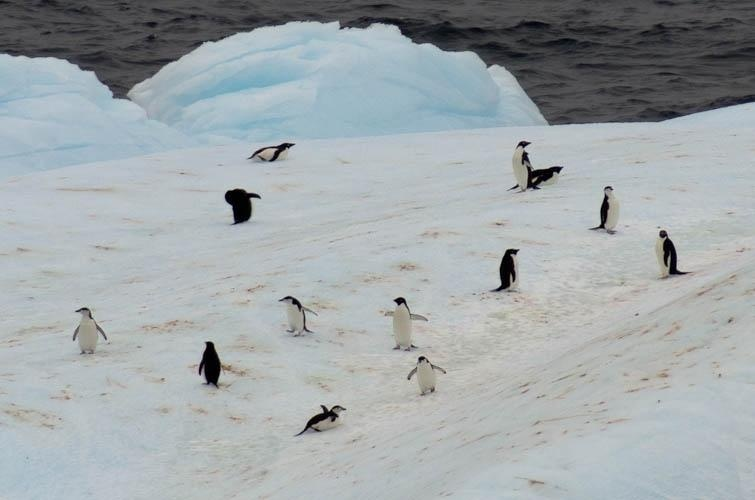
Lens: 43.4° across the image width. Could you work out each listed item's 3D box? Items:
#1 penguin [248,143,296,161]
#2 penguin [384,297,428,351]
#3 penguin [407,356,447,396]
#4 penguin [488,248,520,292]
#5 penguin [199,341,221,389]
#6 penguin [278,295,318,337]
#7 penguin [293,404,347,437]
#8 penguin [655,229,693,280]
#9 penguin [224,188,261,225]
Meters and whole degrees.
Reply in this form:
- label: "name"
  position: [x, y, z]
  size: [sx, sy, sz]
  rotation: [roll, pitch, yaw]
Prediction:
- label: "penguin"
  position: [-2.613, -2.383, 23.185]
  size: [1.131, 0.290, 0.508]
  rotation: [1, 20, 3]
- label: "penguin"
  position: [0.345, 1.085, 14.519]
  size: [0.339, 0.855, 0.528]
  rotation: [-7, 30, 2]
- label: "penguin"
  position: [0.685, 1.822, 13.593]
  size: [0.736, 0.441, 0.315]
  rotation: [-15, -3, -4]
- label: "penguin"
  position: [2.098, 0.329, 15.806]
  size: [0.458, 0.685, 0.417]
  rotation: [-3, 30, 6]
- label: "penguin"
  position: [-2.409, 1.618, 13.470]
  size: [0.347, 0.634, 0.437]
  rotation: [-14, 30, -10]
- label: "penguin"
  position: [-1.214, 1.044, 14.843]
  size: [0.700, 0.451, 0.684]
  rotation: [10, -16, -22]
- label: "penguin"
  position: [-0.721, 2.293, 12.862]
  size: [0.688, 0.195, 0.394]
  rotation: [-15, 17, 9]
- label: "penguin"
  position: [4.813, 0.070, 15.657]
  size: [0.476, 0.779, 0.411]
  rotation: [-6, 31, 2]
- label: "penguin"
  position: [-2.734, -0.900, 19.237]
  size: [1.115, 0.614, 0.351]
  rotation: [-2, 0, 9]
